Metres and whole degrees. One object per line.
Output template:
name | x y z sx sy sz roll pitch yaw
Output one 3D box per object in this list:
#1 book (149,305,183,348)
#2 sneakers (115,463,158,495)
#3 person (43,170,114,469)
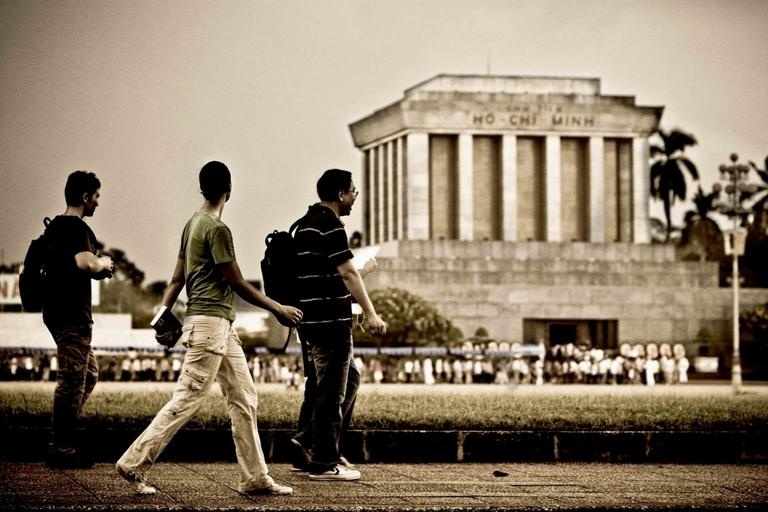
book | -3.231 0.998 23.049 0.135 0.564 0.562 7 41 42
sneakers | -3.543 3.152 22.567 0.466 0.206 0.147 33 30 -4
person | -4.632 0.907 23.646 0.914 4.385 0.652 2 -6 -12
